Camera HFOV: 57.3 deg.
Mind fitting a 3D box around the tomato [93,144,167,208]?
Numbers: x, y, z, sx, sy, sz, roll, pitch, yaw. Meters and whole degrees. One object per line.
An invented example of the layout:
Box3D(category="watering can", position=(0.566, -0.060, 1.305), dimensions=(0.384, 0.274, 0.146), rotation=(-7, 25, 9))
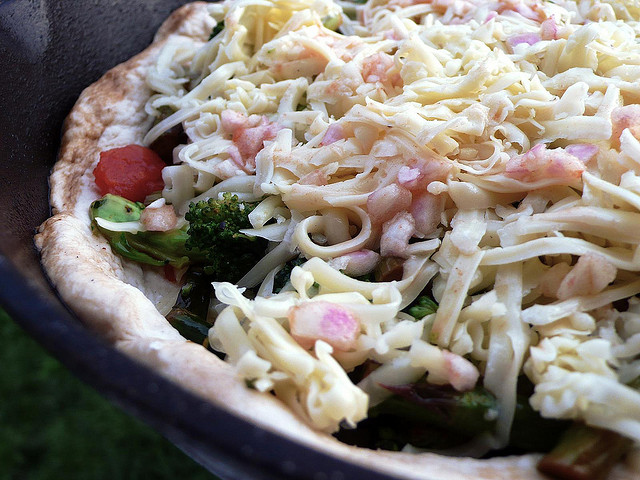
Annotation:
Box3D(category="tomato", position=(-0.629, -0.222, 1.928), dimensions=(0.135, 0.192, 0.259), rotation=(7, 19, 32))

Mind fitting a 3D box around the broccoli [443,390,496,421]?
Box3D(category="broccoli", position=(0.361, 0.403, 1.418), dimensions=(0.109, 0.025, 0.066), rotation=(-12, 84, -6))

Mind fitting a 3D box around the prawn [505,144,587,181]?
Box3D(category="prawn", position=(0.587, -0.203, 1.535), dimensions=(0.195, 0.053, 0.093), rotation=(4, 58, 7))

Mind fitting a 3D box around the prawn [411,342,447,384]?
Box3D(category="prawn", position=(0.257, 0.309, 1.447), dimensions=(0.030, 0.093, 0.091), rotation=(-36, 29, 20))

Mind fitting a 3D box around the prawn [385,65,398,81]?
Box3D(category="prawn", position=(0.212, -0.507, 1.767), dimensions=(0.034, 0.043, 0.011), rotation=(14, 39, -11))

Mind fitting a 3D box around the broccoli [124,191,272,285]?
Box3D(category="broccoli", position=(-0.339, -0.006, 1.726), dimensions=(0.334, 0.191, 0.329), rotation=(15, 38, 19))

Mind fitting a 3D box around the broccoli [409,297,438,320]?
Box3D(category="broccoli", position=(0.268, 0.184, 1.532), dimensions=(0.054, 0.017, 0.069), rotation=(38, 68, 25))

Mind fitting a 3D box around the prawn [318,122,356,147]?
Box3D(category="prawn", position=(0.048, -0.312, 1.694), dimensions=(0.070, 0.028, 0.076), rotation=(6, 64, 23))

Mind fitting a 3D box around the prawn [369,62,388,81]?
Box3D(category="prawn", position=(0.182, -0.511, 1.779), dimensions=(0.053, 0.016, 0.054), rotation=(37, 104, 33))

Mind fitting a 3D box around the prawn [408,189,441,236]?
Box3D(category="prawn", position=(0.279, -0.079, 1.600), dimensions=(0.044, 0.124, 0.080), rotation=(-11, 24, -30))

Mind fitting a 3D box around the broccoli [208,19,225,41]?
Box3D(category="broccoli", position=(-0.381, -0.784, 2.191), dimensions=(0.020, 0.060, 0.061), rotation=(34, 33, -3))

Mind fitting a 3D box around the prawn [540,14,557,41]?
Box3D(category="prawn", position=(0.718, -0.671, 1.847), dimensions=(0.028, 0.078, 0.062), rotation=(-2, 17, -16))

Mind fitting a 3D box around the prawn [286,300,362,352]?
Box3D(category="prawn", position=(0.010, 0.211, 1.426), dimensions=(0.180, 0.073, 0.113), rotation=(-1, 58, 5))

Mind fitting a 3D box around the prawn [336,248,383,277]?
Box3D(category="prawn", position=(0.113, 0.064, 1.599), dimensions=(0.117, 0.064, 0.062), rotation=(-15, 58, -4))
